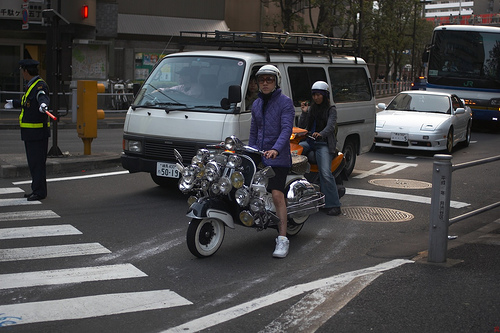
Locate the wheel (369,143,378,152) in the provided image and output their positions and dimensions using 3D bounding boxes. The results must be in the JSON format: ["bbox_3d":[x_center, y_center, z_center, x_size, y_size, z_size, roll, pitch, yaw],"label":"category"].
[{"bbox_3d":[4.475,-0.708,14.995,0.278,0.361,0.590,3,10,36],"label":"wheel"}]

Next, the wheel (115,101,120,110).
[{"bbox_3d":[-8.368,-3.895,26.045,0.215,0.494,0.190,-3,9,-21],"label":"wheel"}]

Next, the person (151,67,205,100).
[{"bbox_3d":[-1.340,-1.715,8.448,1.062,0.647,0.390,7,11,29],"label":"person"}]

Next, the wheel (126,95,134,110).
[{"bbox_3d":[-7.655,-4.117,26.116,0.420,0.793,2.491,-2,11,-16],"label":"wheel"}]

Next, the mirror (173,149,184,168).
[{"bbox_3d":[-1.221,-0.155,7.054,0.059,0.354,0.099,-28,19,-7],"label":"mirror"}]

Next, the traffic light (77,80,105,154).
[{"bbox_3d":[-4.541,-1.392,11.768,0.807,2.056,0.766,-3,7,-36],"label":"traffic light"}]

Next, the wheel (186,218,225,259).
[{"bbox_3d":[-0.594,0.958,5.637,0.571,0.584,0.122,-5,10,-34],"label":"wheel"}]

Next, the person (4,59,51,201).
[{"bbox_3d":[-4.279,-0.735,8.216,0.512,2.715,0.741,-4,10,-30],"label":"person"}]

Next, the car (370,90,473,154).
[{"bbox_3d":[6.524,-1.681,15.518,2.538,2.281,4.624,9,13,41],"label":"car"}]

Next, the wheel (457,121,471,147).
[{"bbox_3d":[8.963,-1.385,17.286,0.454,1.043,0.838,5,10,25],"label":"wheel"}]

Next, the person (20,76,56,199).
[{"bbox_3d":[-4.247,-0.570,8.186,0.506,2.310,0.618,-4,10,-31],"label":"person"}]

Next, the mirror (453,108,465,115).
[{"bbox_3d":[7.645,-2.016,15.121,0.400,0.243,0.357,7,12,32],"label":"mirror"}]

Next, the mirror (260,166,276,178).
[{"bbox_3d":[0.257,0.076,5.600,0.142,0.172,0.275,9,12,40],"label":"mirror"}]

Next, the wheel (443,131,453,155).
[{"bbox_3d":[7.116,-0.870,14.850,0.217,0.862,0.896,6,11,33],"label":"wheel"}]

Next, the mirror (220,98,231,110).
[{"bbox_3d":[-0.504,-1.150,7.647,0.039,0.176,0.172,10,34,41],"label":"mirror"}]

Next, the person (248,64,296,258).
[{"bbox_3d":[0.351,-0.083,5.964,0.776,2.436,0.847,1,2,29],"label":"person"}]

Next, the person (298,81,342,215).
[{"bbox_3d":[1.307,-0.371,7.889,0.708,2.539,0.804,0,1,-25],"label":"person"}]
